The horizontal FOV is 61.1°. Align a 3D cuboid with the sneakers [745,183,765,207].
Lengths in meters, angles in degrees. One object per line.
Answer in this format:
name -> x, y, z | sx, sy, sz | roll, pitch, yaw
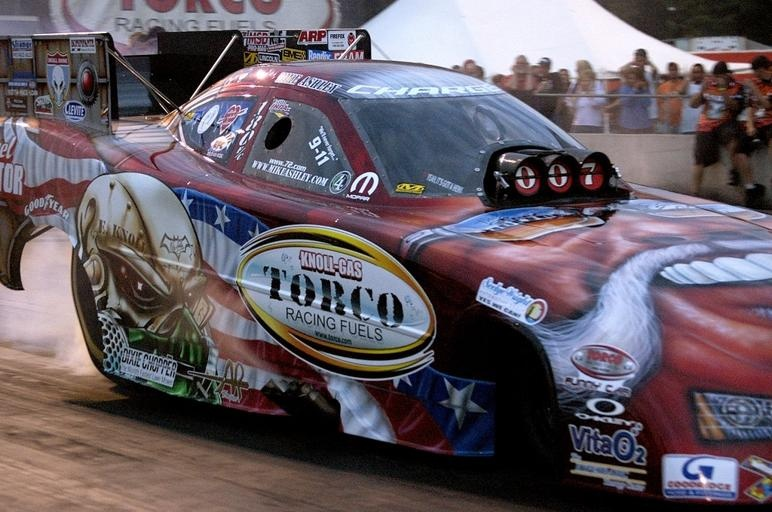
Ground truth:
sneakers -> 4.875, -0.820, 8.686 | 0.268, 0.297, 0.091 | 1, 4, 5
